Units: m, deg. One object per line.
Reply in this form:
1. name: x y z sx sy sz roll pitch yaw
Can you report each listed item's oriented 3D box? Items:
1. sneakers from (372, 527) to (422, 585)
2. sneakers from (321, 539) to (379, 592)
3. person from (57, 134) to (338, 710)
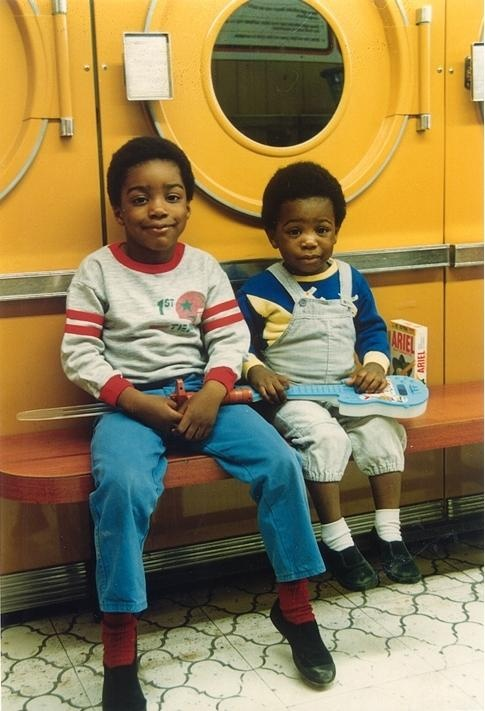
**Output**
1. sneakers: 0.352 0.457 1.389 0.056 0.050 0.141 -4 26 -10
2. sneakers: 0.230 0.454 1.356 0.072 0.061 0.160 -10 16 -28
3. person: -0.134 0.085 1.288 0.462 1.145 0.428 -5 3 -17
